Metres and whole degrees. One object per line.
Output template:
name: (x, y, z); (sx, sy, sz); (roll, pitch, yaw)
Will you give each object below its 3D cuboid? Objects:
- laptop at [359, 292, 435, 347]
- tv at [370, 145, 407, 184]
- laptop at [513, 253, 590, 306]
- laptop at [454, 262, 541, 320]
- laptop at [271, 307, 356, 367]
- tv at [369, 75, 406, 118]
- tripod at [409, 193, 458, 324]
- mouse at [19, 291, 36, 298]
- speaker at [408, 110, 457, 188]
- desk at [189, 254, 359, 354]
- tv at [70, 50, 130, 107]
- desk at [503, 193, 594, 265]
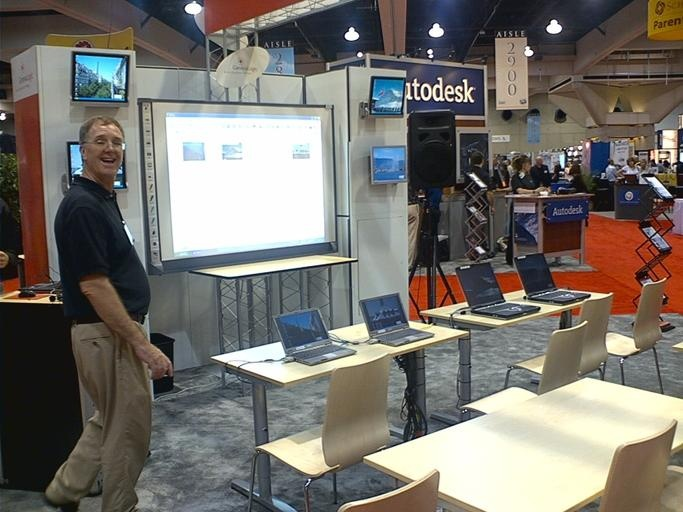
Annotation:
laptop: (0.380, 0.428, 3.593); (0.452, 0.235, 0.397); (-4, 9, -25)
tv: (0.526, -1.023, 5.923); (0.510, 0.408, 0.055); (-9, 12, -33)
laptop: (1.790, 0.232, 4.546); (0.497, 0.354, 0.507); (-7, 9, -37)
laptop: (1.214, 0.268, 4.133); (0.480, 0.365, 0.507); (-8, 8, -39)
laptop: (-0.156, 0.496, 3.308); (0.516, 0.233, 0.498); (2, 6, 11)
tv: (0.490, -1.765, 5.889); (0.059, 0.446, 0.634); (22, 27, 38)
tripod: (0.867, 0.043, 5.628); (0.570, 1.191, 0.530); (14, 25, 39)
mouse: (-2.053, 0.249, 3.466); (0.070, 0.025, 0.055); (1, 2, 22)
speaker: (1.014, -1.081, 5.651); (0.545, 0.833, 0.497); (1, -9, 11)
desk: (-0.697, 0.558, 5.510); (1.467, 0.912, 0.592); (-4, 5, 30)
tv: (-1.950, -1.434, 4.242); (0.479, 0.395, 0.063); (-4, 9, -36)
desk: (3.863, -0.439, 9.865); (1.454, 1.273, 1.024); (-5, 4, -34)
